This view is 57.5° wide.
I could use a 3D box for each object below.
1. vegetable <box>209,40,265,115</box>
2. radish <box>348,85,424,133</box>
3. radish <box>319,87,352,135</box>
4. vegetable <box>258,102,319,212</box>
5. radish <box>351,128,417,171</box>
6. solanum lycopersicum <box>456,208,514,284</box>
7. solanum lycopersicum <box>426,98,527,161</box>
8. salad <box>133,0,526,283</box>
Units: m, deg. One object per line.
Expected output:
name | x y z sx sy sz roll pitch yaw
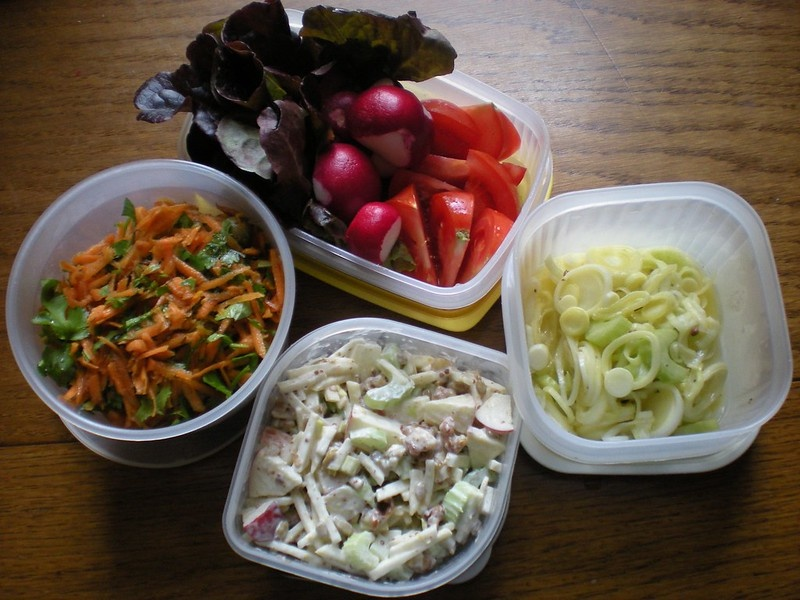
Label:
vegetable | -0.391 -0.533 1.772 0.165 0.167 0.140 5 91 4
radish | -0.037 -0.451 1.705 0.163 0.132 0.070 -2 49 3
radish | -0.155 -0.465 1.801 0.114 0.050 0.084 -3 85 9
vegetable | -0.264 -0.336 1.741 0.130 0.049 0.244 -9 95 -18
radish | -0.042 -0.369 1.788 0.098 0.086 0.097 34 46 29
solanum lycopersicum | 0.206 -0.140 1.809 0.062 0.175 0.178 32 77 -5
solanum lycopersicum | 0.178 -0.427 1.842 0.202 0.080 0.166 -19 112 16
salad | -0.140 -0.394 2.033 1.096 0.382 0.545 26 86 0
